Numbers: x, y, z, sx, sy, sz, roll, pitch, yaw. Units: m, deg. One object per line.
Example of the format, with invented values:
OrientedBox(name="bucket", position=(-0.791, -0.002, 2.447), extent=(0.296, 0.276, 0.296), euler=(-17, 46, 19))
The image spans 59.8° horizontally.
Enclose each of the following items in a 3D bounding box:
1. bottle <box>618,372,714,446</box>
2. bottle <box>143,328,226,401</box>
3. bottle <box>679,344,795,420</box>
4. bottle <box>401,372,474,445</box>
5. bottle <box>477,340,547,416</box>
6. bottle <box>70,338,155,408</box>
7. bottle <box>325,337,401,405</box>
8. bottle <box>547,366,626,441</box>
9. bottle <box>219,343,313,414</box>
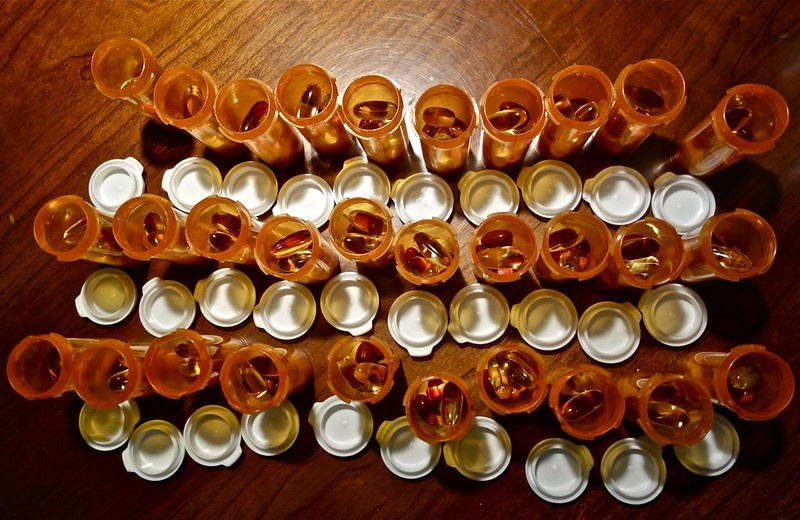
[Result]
OrientedBox(name="bottle", position=(0.789, 0.436, 2.055), extent=(0.170, 0.167, 0.114), euler=(-31, 85, 5))
OrientedBox(name="bottle", position=(-0.652, 0.313, 2.084), extent=(0.192, 0.105, 0.184), euler=(-1, 72, 4))
OrientedBox(name="bottle", position=(1.003, 0.330, 2.144), extent=(0.269, 0.342, 0.245), euler=(0, 96, -1))
OrientedBox(name="bottle", position=(0.112, 0.422, 2.087), extent=(0.202, 0.205, 0.213), euler=(4, 83, 3))
OrientedBox(name="bottle", position=(0.325, 0.351, 2.053), extent=(0.202, 0.092, 0.205), euler=(-1, 72, 4))
OrientedBox(name="bottle", position=(-0.866, 0.333, 2.172), extent=(0.185, 0.215, 0.229), euler=(4, 90, -3))
OrientedBox(name="bottle", position=(-0.115, 0.321, 2.064), extent=(0.185, 0.092, 0.193), euler=(-1, 72, 4))
OrientedBox(name="bottle", position=(0.547, 0.428, 2.075), extent=(0.203, 0.201, 0.202), euler=(-20, 72, -2))
OrientedBox(name="bottle", position=(-0.406, 0.361, 2.100), extent=(0.160, 0.246, 0.166), euler=(0, 93, 8))
